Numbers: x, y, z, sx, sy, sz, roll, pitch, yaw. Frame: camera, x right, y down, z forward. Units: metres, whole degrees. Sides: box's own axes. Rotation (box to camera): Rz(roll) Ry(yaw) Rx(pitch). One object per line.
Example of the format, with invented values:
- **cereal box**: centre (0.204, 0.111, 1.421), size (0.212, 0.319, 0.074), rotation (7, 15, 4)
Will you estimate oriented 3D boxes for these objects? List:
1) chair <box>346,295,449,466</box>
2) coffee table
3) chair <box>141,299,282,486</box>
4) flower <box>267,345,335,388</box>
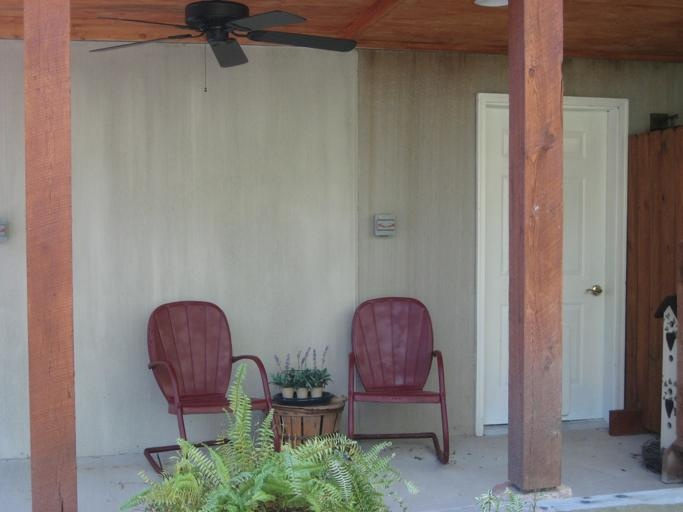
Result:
- **chair**: centre (0.391, 0.825, 5.844), size (0.685, 1.037, 0.731), rotation (-1, 4, 6)
- **coffee table**: centre (-0.216, 1.066, 5.458), size (0.517, 0.446, 0.545), rotation (0, -3, 1)
- **chair**: centre (-0.887, 0.846, 5.588), size (0.778, 1.048, 0.818), rotation (-3, 4, -17)
- **flower**: centre (-0.269, 0.734, 5.886), size (0.297, 0.222, 0.312), rotation (0, -5, 2)
